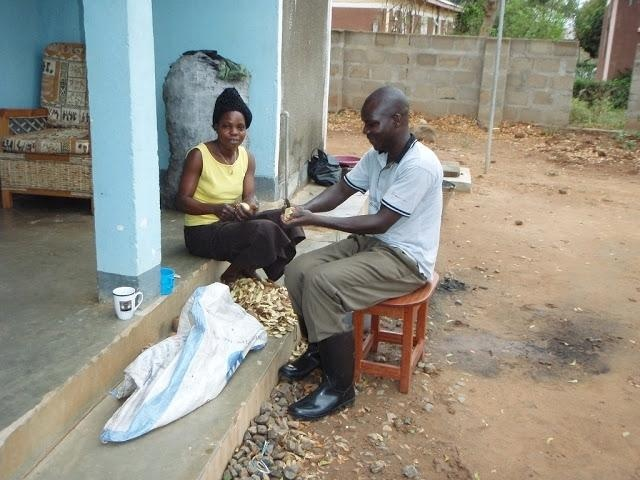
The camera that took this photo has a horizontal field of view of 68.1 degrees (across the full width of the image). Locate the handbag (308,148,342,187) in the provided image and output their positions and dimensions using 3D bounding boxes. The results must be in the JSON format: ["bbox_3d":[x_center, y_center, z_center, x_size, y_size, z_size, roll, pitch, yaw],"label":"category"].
[{"bbox_3d":[0.058,-1.101,7.367,0.565,0.306,0.736,12,41,-21],"label":"handbag"}]

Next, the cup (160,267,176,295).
[{"bbox_3d":[-1.076,0.295,3.402,0.160,0.123,0.123,-3,12,-33],"label":"cup"}]

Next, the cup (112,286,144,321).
[{"bbox_3d":[-1.223,0.407,3.058,0.188,0.167,0.116,-8,21,-39],"label":"cup"}]

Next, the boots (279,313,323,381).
[{"bbox_3d":[-0.122,0.793,3.454,0.407,0.414,0.191,-5,11,-41],"label":"boots"}]

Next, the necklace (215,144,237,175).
[{"bbox_3d":[-0.765,-0.659,3.854,0.191,0.240,0.146,0,3,-30],"label":"necklace"}]

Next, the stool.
[{"bbox_3d":[0.548,0.657,3.766,0.764,0.977,0.777,4,18,19],"label":"stool"}]

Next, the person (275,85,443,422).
[{"bbox_3d":[0.261,0.036,3.329,1.112,2.129,0.634,-6,15,-27],"label":"person"}]

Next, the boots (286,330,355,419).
[{"bbox_3d":[0.024,0.863,3.127,0.483,0.595,0.244,-7,20,-26],"label":"boots"}]
